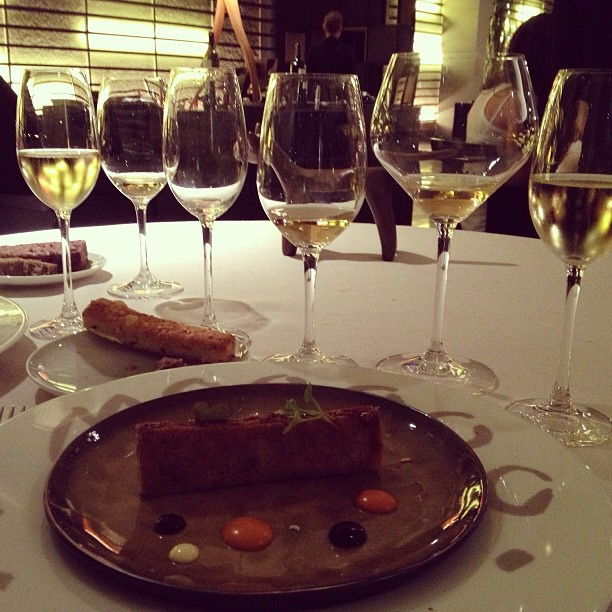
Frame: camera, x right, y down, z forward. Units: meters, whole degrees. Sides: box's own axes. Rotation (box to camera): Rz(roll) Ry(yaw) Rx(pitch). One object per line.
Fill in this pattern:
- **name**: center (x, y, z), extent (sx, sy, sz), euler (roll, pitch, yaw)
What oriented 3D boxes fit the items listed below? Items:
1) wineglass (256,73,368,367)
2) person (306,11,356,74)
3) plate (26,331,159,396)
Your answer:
- **wineglass**: center (0.009, -0.113, 0.766), extent (0.137, 0.400, 0.118), euler (-10, 16, -39)
- **person**: center (0.205, -2.217, 4.558), extent (0.387, 0.616, 0.709), euler (0, 13, 0)
- **plate**: center (-0.284, 0.076, 0.721), extent (0.102, 0.016, 0.106), euler (1, 23, -11)
